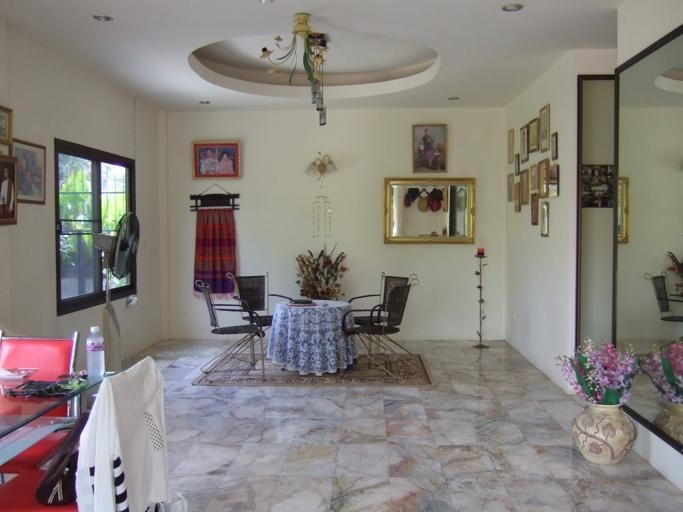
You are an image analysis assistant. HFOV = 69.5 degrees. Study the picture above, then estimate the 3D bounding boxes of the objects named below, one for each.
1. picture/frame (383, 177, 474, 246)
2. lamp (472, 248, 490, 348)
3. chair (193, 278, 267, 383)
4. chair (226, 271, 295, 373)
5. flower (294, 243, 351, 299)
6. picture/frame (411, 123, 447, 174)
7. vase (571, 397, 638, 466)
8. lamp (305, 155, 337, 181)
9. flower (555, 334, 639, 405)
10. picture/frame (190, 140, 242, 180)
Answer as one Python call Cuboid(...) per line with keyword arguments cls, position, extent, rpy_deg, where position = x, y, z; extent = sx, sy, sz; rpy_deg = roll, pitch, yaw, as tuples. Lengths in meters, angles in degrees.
Cuboid(cls="picture/frame", position=(1.302, -0.677, 7.147), extent=(0.935, 0.706, 0.044), rpy_deg=(0, 1, 0))
Cuboid(cls="lamp", position=(1.992, 0.590, 7.039), extent=(0.191, 1.326, 0.529), rpy_deg=(1, 8, 14))
Cuboid(cls="chair", position=(-1.302, 0.881, 6.262), extent=(1.171, 1.496, 1.022), rpy_deg=(1, 1, -10))
Cuboid(cls="chair", position=(-1.133, 0.719, 6.455), extent=(0.808, 1.269, 0.844), rpy_deg=(-1, 2, -34))
Cuboid(cls="flower", position=(-0.277, 0.225, 7.171), extent=(0.759, 0.926, 0.198), rpy_deg=(0, -5, -7))
Cuboid(cls="picture/frame", position=(1.286, -1.580, 7.148), extent=(0.695, 0.964, 0.064), rpy_deg=(0, 0, -2))
Cuboid(cls="vase", position=(2.058, 1.380, 3.908), extent=(0.432, 0.490, 0.445), rpy_deg=(-4, 5, -22))
Cuboid(cls="lamp", position=(-0.288, -1.310, 7.209), extent=(0.344, 0.362, 0.134), rpy_deg=(-3, -1, 0))
Cuboid(cls="flower", position=(2.041, 0.871, 3.890), extent=(0.500, 0.365, 0.514), rpy_deg=(0, -2, -5))
Cuboid(cls="picture/frame", position=(-1.818, -1.430, 7.224), extent=(0.534, 0.469, 0.043), rpy_deg=(0, 4, 4))
